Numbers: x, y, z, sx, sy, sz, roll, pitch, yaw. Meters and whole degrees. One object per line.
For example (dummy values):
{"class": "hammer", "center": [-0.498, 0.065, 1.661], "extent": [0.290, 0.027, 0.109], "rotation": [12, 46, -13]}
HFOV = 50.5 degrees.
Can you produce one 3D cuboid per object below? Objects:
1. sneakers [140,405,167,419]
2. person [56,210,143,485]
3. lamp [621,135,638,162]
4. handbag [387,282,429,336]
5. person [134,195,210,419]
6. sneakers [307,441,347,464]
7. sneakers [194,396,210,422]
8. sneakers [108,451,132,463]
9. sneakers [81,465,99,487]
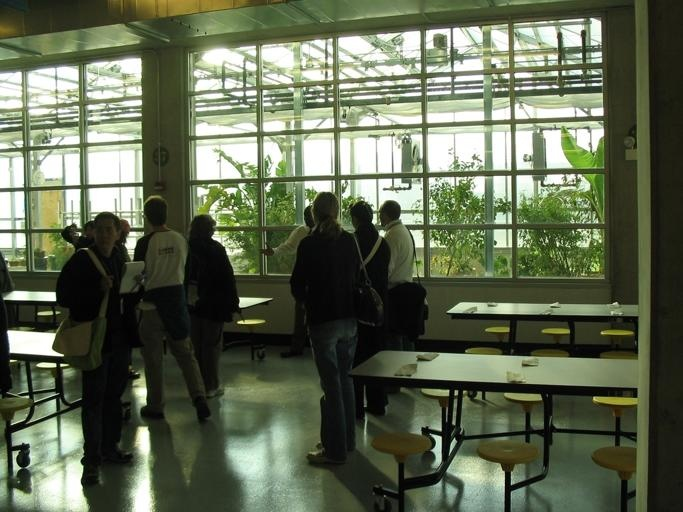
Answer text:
{"class": "sneakers", "center": [-1.842, 1.546, 7.118], "extent": [0.278, 0.123, 0.102], "rotation": [9, 11, 41]}
{"class": "person", "center": [-1.984, 0.739, 5.800], "extent": [0.650, 2.167, 0.446], "rotation": [-5, 4, -43]}
{"class": "lamp", "center": [3.589, -1.350, 9.044], "extent": [0.126, 0.314, 0.137], "rotation": [-1, 3, 11]}
{"class": "handbag", "center": [0.742, 0.534, 7.197], "extent": [0.370, 0.525, 0.531], "rotation": [-2, -5, 26]}
{"class": "person", "center": [-1.592, 0.524, 6.795], "extent": [0.596, 2.166, 0.613], "rotation": [-3, 3, -11]}
{"class": "sneakers", "center": [-0.138, 1.674, 6.072], "extent": [0.350, 0.156, 0.134], "rotation": [5, 1, 20]}
{"class": "sneakers", "center": [-1.348, 1.492, 6.991], "extent": [0.094, 0.194, 0.183], "rotation": [-18, 3, -10]}
{"class": "sneakers", "center": [-1.851, 1.701, 6.081], "extent": [0.194, 0.085, 0.091], "rotation": [0, 2, -8]}
{"class": "sneakers", "center": [-1.988, 1.763, 5.766], "extent": [0.110, 0.152, 0.156], "rotation": [2, 2, -3]}
